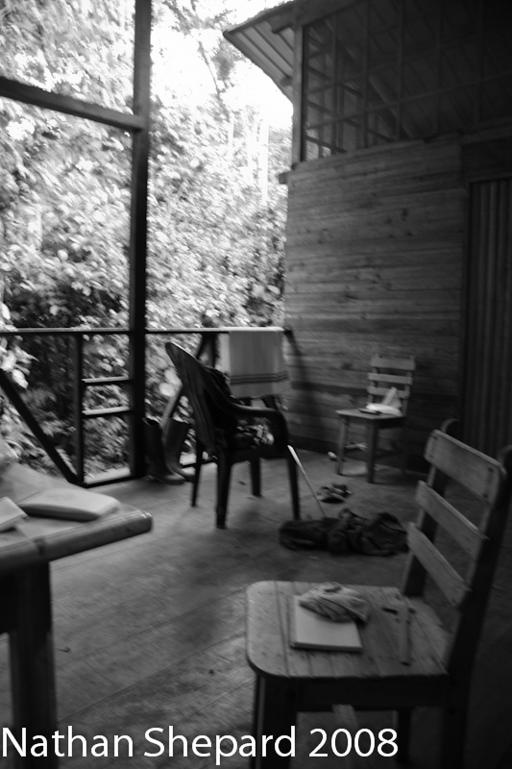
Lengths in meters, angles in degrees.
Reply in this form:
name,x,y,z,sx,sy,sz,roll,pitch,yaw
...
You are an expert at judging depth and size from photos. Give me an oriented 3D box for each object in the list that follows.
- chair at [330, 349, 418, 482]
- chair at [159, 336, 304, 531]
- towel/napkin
name,x,y,z,sx,sy,sz,roll,pitch,yaw
chair,0.951,0.237,4.427,0.495,1.040,0.586,5,1,4
chair,-0.142,0.290,3.288,0.683,1.069,0.667,-7,10,-40
towel/napkin,-0.007,-0.202,4.497,0.488,0.592,0.536,-3,5,-13
